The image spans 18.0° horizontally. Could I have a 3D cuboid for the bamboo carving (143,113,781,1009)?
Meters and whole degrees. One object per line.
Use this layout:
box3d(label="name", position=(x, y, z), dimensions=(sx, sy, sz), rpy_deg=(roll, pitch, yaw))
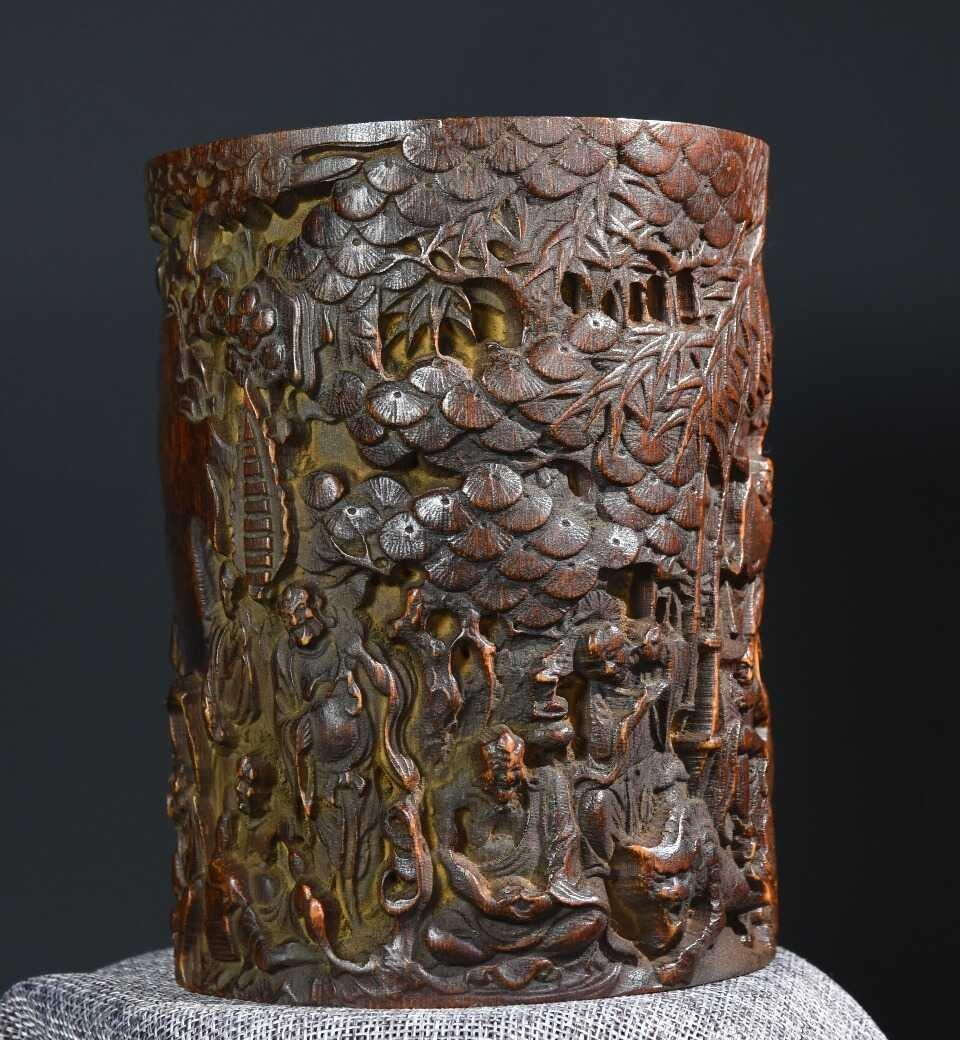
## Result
box3d(label="bamboo carving", position=(-0.008, 0.036, 3.102), dimensions=(0.640, 0.772, 0.688), rpy_deg=(-1, 40, -3))
